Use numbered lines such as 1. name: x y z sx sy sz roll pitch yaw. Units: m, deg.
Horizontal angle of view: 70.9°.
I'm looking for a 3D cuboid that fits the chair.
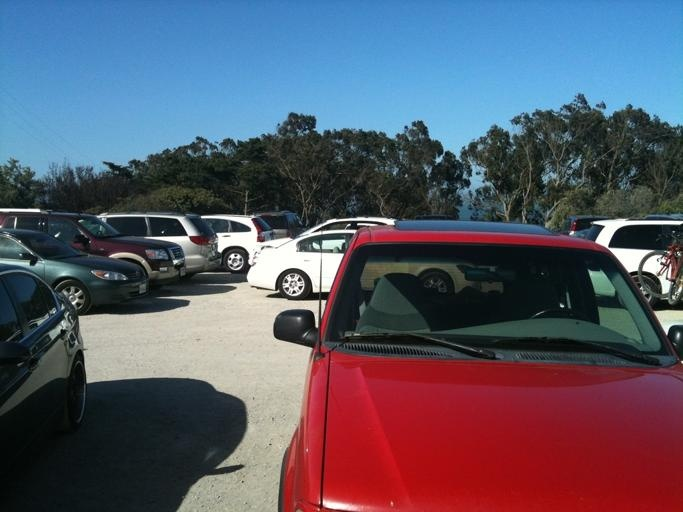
1. chair: 0.697 0.297 3.242 0.872 0.341 0.623 1 4 -1
